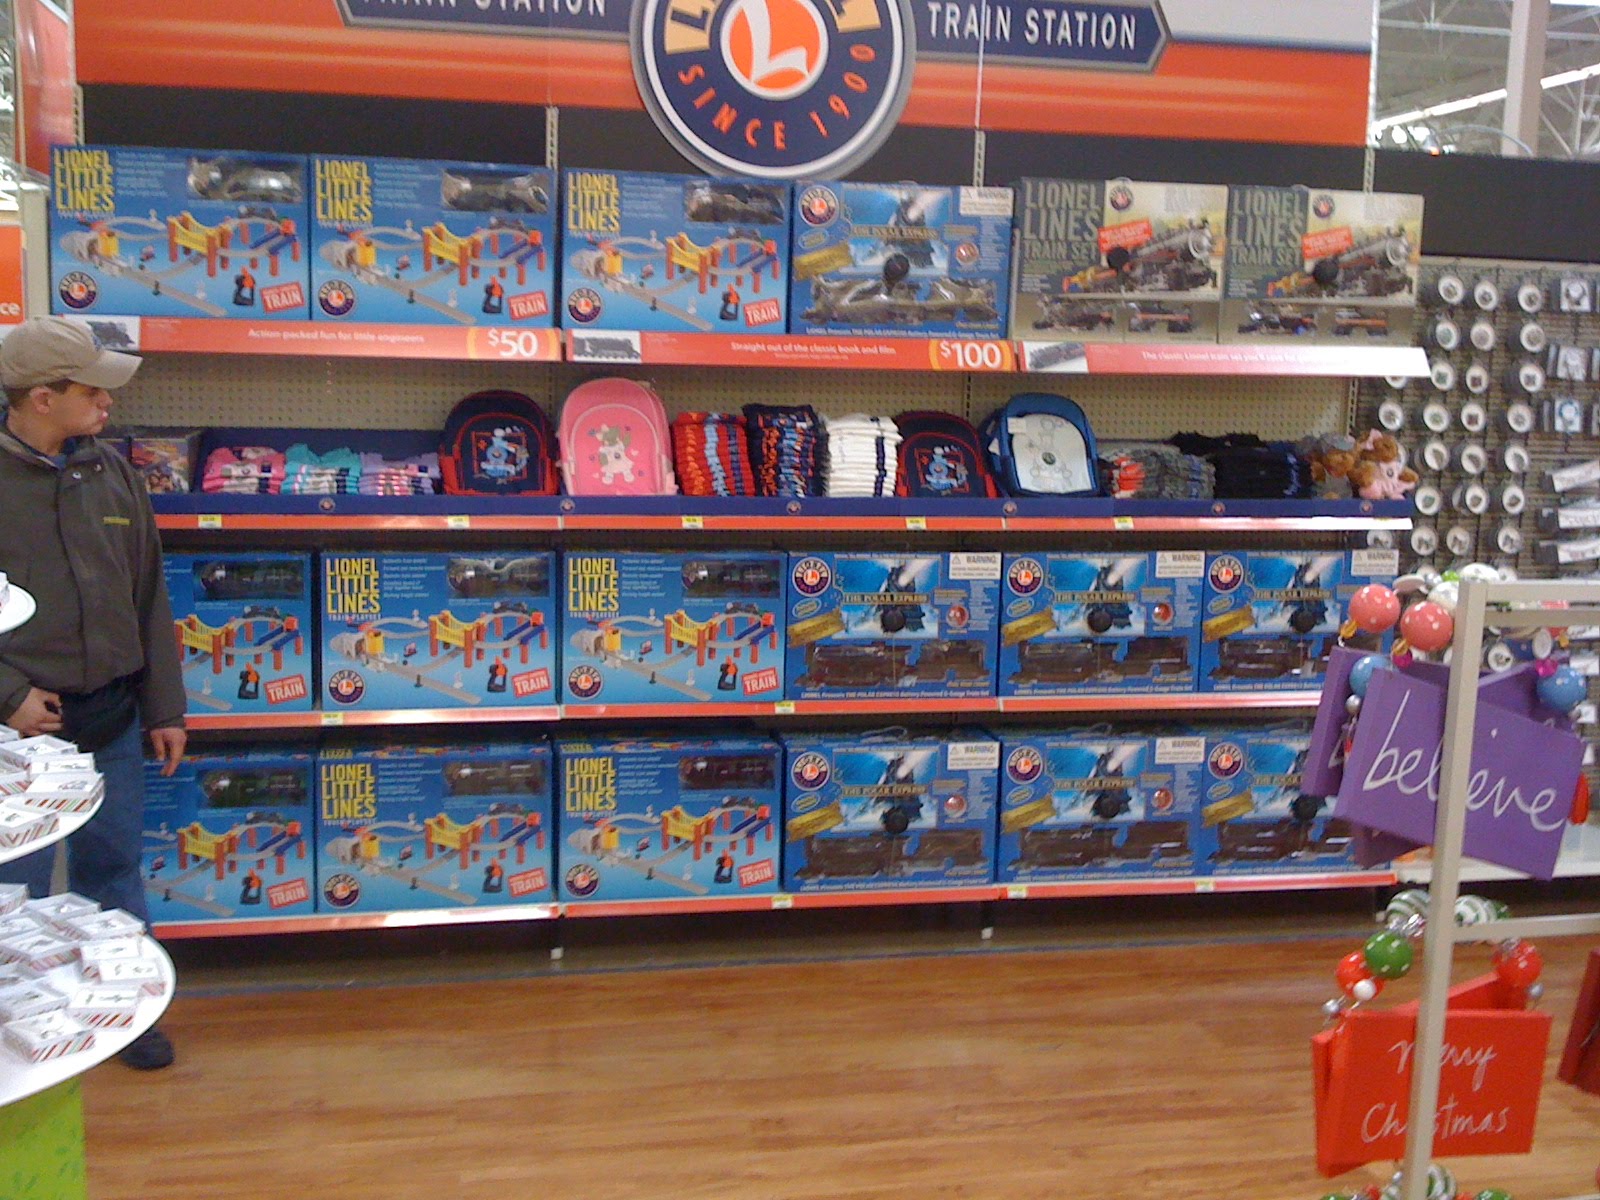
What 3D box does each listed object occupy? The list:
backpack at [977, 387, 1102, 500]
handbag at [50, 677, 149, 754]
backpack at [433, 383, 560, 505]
[{"bbox_3d":[0.853,-0.538,4.667,0.357,0.405,0.164,-7,-19,-15],"label":"backpack"},{"bbox_3d":[-1.857,0.312,3.585,0.172,0.185,0.301,-2,5,23],"label":"handbag"},{"bbox_3d":[-0.966,-0.504,4.366,0.355,0.388,0.149,0,-7,-10],"label":"backpack"}]
